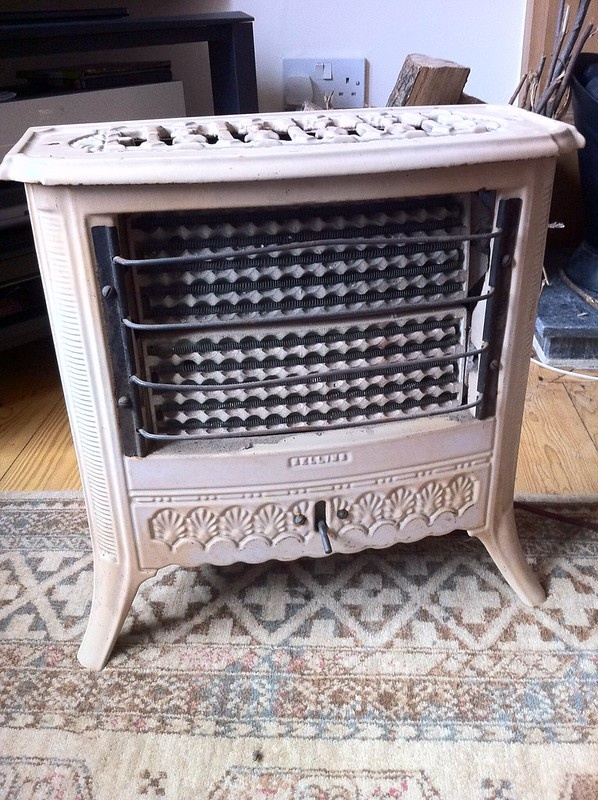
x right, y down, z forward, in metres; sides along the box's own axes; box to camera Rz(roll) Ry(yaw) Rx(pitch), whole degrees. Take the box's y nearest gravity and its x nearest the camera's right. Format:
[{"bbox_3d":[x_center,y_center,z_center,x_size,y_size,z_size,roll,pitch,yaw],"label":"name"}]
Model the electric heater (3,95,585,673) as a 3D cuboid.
[{"bbox_3d":[-0.006,-0.005,0.799,0.602,0.596,0.249,-8,32,-6],"label":"electric heater"}]
